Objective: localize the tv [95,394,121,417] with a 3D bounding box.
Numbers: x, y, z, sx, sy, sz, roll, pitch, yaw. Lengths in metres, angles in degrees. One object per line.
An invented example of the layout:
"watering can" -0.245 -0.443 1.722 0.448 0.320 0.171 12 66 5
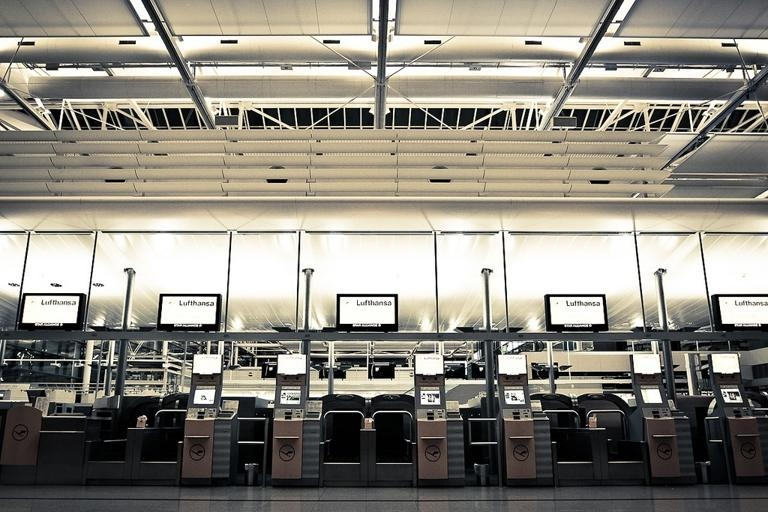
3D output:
"tv" -6.711 3.681 14.835 0.663 0.464 0.276 -1 -34 -2

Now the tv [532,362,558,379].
"tv" 5.691 4.090 21.676 0.933 0.562 3.505 -5 -16 14

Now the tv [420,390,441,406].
"tv" 0.995 3.100 13.267 0.420 0.278 0.081 1 -25 -6
